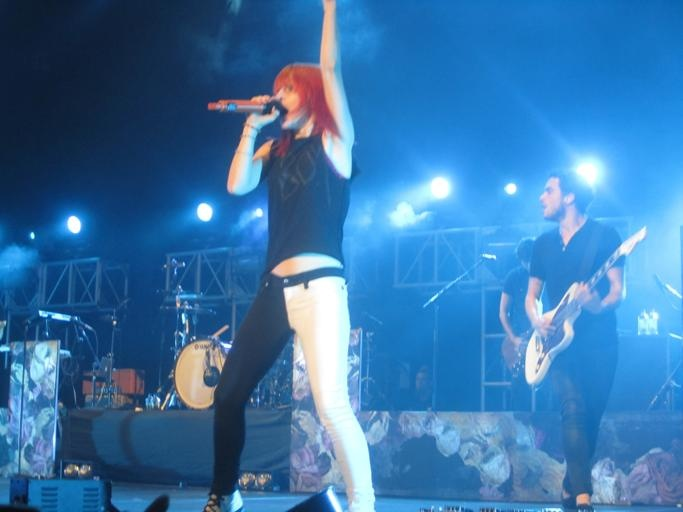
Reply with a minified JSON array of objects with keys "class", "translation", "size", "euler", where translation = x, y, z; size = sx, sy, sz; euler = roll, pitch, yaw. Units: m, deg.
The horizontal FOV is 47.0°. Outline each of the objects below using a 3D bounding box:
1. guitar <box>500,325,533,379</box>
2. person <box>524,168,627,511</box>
[{"class":"guitar","translation":[2.197,1.247,9.905],"size":[0.270,0.732,0.383],"euler":[-9,-14,42]},{"class":"person","translation":[2.066,0.702,6.887],"size":[0.840,2.921,0.413],"euler":[-4,-11,21]}]
